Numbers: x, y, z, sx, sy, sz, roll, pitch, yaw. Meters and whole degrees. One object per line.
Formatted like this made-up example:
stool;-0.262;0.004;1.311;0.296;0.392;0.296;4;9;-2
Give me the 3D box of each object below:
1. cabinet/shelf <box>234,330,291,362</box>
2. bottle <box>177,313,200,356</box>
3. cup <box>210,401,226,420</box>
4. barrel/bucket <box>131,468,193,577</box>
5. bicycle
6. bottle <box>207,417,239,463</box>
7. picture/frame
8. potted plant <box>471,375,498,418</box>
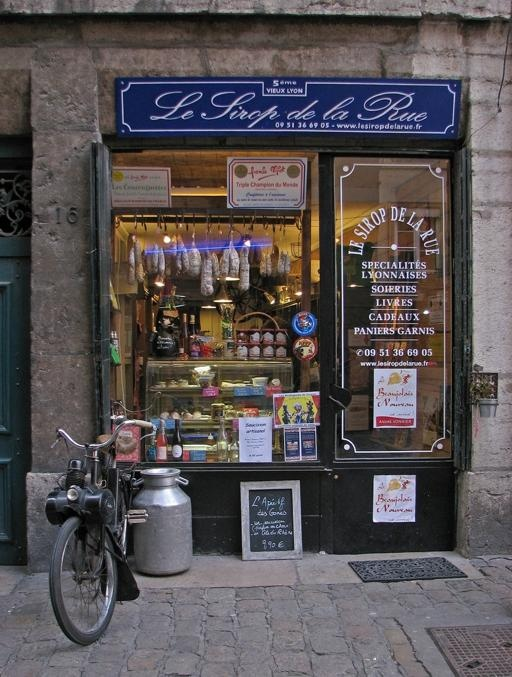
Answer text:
cabinet/shelf;0.060;0.052;7.363;0.559;0.268;0.156;9;14;38
bottle;-0.586;-0.035;7.471;0.171;0.360;0.164;1;11;0
cup;-0.316;0.612;7.208;0.141;0.173;0.131;0;-15;0
barrel/bucket;-0.706;1.383;6.473;0.477;0.710;0.449;-2;0;0
bicycle;-1.022;1.287;5.453;0.650;1.069;1.873;0;-1;-3
bottle;-0.268;0.822;7.034;0.249;0.298;0.305;0;11;-4
picture/frame;0.119;1.460;6.712;0.699;0.767;0.052;0;-11;-7
potted plant;1.804;0.434;6.699;0.214;0.329;0.175;2;11;5
